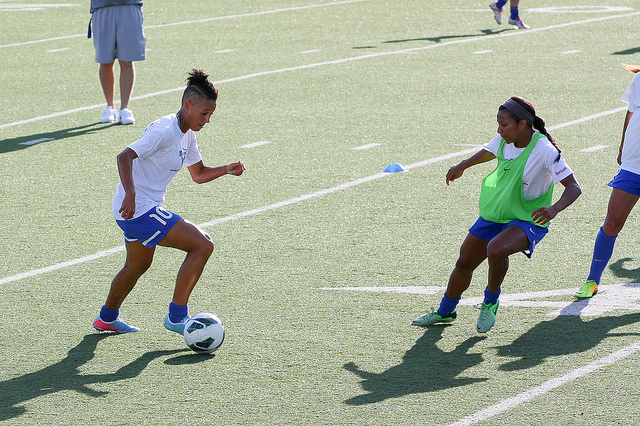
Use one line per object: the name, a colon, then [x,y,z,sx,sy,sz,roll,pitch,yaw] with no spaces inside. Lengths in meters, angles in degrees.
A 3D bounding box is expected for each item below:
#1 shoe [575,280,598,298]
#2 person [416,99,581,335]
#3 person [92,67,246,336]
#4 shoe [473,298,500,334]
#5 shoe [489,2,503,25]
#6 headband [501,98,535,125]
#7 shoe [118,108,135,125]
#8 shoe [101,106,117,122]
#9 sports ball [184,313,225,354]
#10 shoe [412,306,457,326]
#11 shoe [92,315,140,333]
shoe: [2.539,0.718,7.767,0.107,0.104,0.291,4,0,38]
person: [1.702,-0.017,7.179,0.999,1.811,1.231,10,29,20]
person: [-1.372,-0.093,7.080,1.292,2.189,1.464,-4,27,-6]
shoe: [1.448,0.895,7.180,0.140,0.326,0.160,16,1,30]
shoe: [4.555,-5.146,21.213,0.279,0.479,0.797,4,25,10]
headband: [1.709,-0.916,7.179,0.229,0.091,0.241,21,17,-41]
shoe: [-3.144,-1.578,13.217,0.263,0.229,0.296,-6,26,-11]
shoe: [-3.430,-1.611,13.299,0.207,0.223,0.300,4,26,9]
sports ball: [-0.963,0.978,6.878,0.355,0.288,0.340,16,-9,3]
shoe: [1.002,0.902,7.337,0.460,0.159,0.140,0,25,-2]
shoe: [-1.797,0.971,7.235,0.447,0.151,0.134,3,3,-14]
